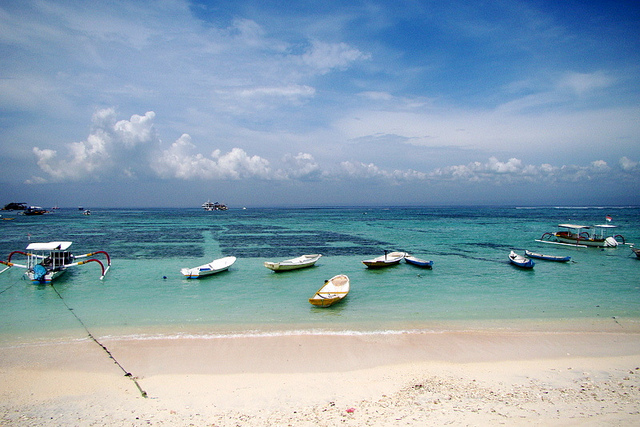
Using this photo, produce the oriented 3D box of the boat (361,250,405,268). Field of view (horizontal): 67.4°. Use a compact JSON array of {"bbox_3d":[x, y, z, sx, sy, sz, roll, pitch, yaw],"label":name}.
[{"bbox_3d":[8.592,5.637,59.823,2.103,1.102,6.175,0,0,34],"label":"boat"}]
